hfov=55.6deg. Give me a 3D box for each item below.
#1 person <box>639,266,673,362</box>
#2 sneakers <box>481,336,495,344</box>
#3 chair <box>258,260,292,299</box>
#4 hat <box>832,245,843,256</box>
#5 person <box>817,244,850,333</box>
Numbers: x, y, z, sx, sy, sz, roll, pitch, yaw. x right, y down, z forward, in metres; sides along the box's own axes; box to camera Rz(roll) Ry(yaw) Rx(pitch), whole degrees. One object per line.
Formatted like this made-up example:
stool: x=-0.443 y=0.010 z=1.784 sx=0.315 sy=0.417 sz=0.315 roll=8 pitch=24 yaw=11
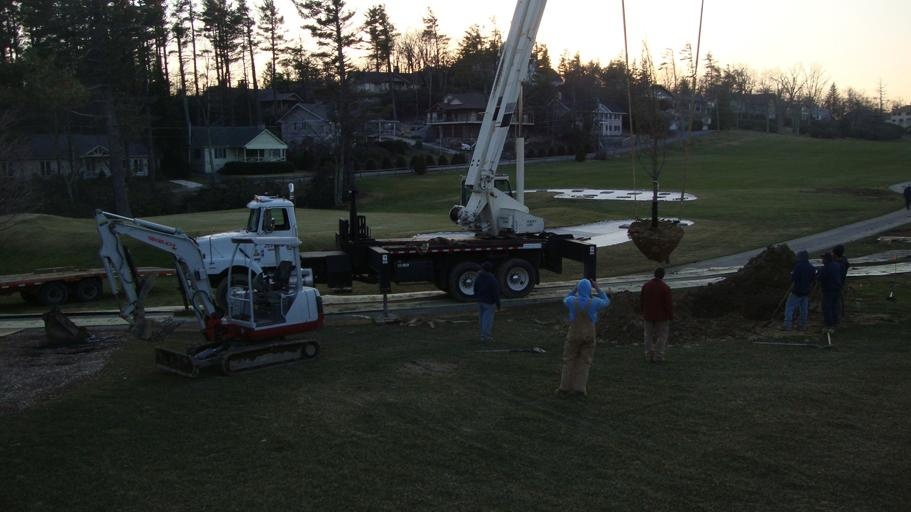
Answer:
person: x=7.818 y=2.245 z=33.638 sx=1.065 sy=3.639 sz=0.821 roll=-4 pitch=9 yaw=-2
sneakers: x=1.369 y=3.438 z=35.681 sx=0.509 sy=0.277 sz=0.234 roll=-4 pitch=11 yaw=1
chair: x=-7.389 y=0.927 z=35.103 sx=1.763 sy=1.521 sz=1.274 roll=-1 pitch=14 yaw=-8
hat: x=15.683 y=-0.250 z=35.518 sx=0.492 sy=0.505 sz=0.618 roll=2 pitch=-9 yaw=22
person: x=15.440 y=1.309 z=35.319 sx=0.925 sy=3.385 sz=1.361 roll=2 pitch=10 yaw=29
